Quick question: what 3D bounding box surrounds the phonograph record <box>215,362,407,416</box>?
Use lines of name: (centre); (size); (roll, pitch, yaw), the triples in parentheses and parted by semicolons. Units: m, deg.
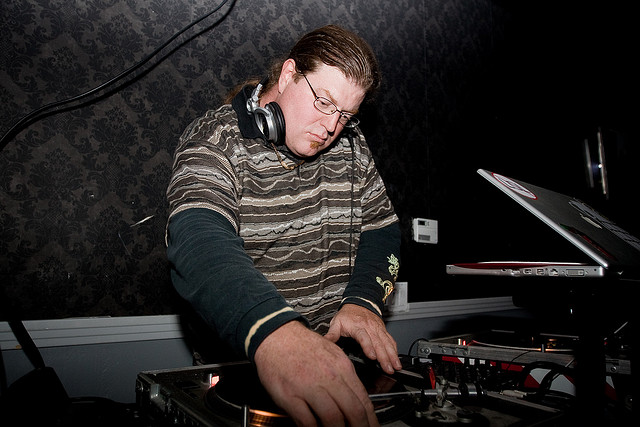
phonograph record: (-0.029, 0.531, 1.498); (0.585, 0.065, 0.281); (-5, 11, -9)

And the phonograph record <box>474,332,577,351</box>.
phonograph record: (0.882, 0.546, 2.055); (0.211, 0.050, 0.216); (3, -6, -5)

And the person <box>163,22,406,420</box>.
person: (-0.116, -0.090, 1.741); (0.795, 1.241, 1.111); (-2, 11, 8)
